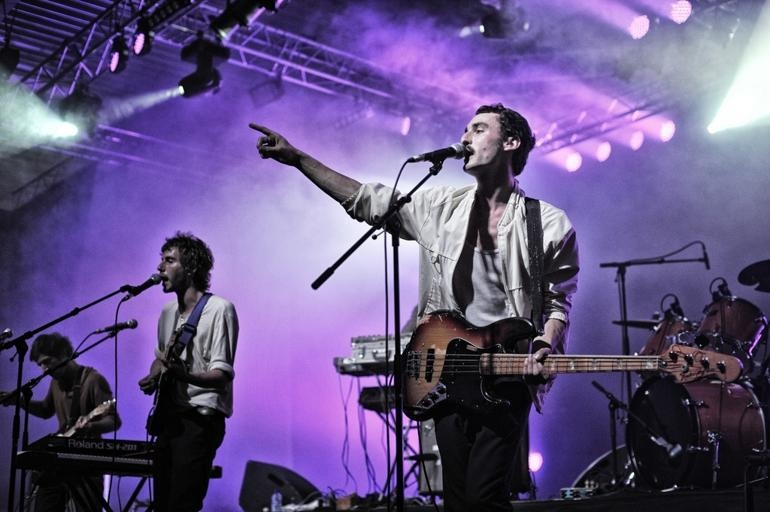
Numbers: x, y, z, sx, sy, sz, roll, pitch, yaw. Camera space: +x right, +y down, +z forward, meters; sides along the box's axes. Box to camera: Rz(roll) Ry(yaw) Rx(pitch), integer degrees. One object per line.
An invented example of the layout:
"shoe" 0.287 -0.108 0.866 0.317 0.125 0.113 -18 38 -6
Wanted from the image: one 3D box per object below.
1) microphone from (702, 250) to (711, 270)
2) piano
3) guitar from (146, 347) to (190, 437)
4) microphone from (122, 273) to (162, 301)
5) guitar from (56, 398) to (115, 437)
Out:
"microphone" 5.407 0.064 11.858 0.053 0.349 0.080 -10 13 14
"piano" -3.525 2.387 8.484 1.742 0.426 0.373 -1 -17 11
"guitar" -2.504 1.685 7.989 0.424 0.682 0.256 -5 -17 23
"microphone" -3.975 0.540 11.605 0.620 0.180 0.191 -37 12 4
"guitar" -4.123 2.258 9.880 0.893 0.489 0.342 -6 -18 23
